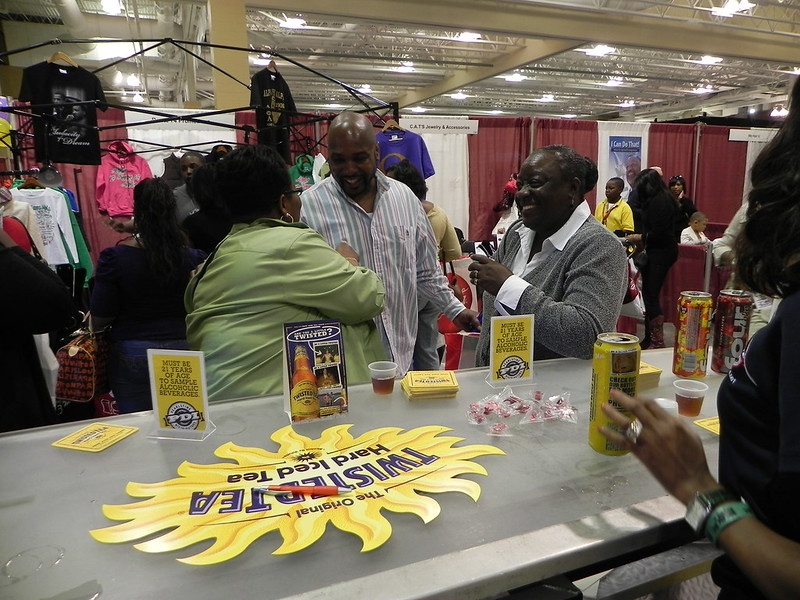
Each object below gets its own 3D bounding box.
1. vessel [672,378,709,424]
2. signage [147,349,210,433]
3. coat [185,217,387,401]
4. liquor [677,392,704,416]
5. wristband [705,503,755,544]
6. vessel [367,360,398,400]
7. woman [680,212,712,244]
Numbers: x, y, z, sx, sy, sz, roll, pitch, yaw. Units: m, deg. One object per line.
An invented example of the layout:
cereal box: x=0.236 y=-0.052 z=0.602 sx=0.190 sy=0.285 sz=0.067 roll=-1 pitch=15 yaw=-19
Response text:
vessel: x=0.817 y=0.286 z=1.270 sx=0.103 sy=0.087 sz=0.103 roll=1 pitch=1 yaw=-22
signage: x=-0.598 y=0.249 z=1.208 sx=0.222 sy=0.288 sz=0.011 roll=-2 pitch=-4 yaw=8
coat: x=-0.419 y=0.001 z=1.781 sx=0.715 sy=0.651 sz=0.553 roll=-8 pitch=4 yaw=-29
liquor: x=0.813 y=0.294 z=1.270 sx=0.064 sy=0.048 sz=0.067 roll=0 pitch=-1 yaw=3
wristband: x=0.534 y=0.360 z=0.726 sx=0.075 sy=0.063 sz=0.029 roll=-4 pitch=12 yaw=-17
vessel: x=-0.055 y=0.252 z=1.392 sx=0.095 sy=0.068 sz=0.092 roll=-1 pitch=6 yaw=-3
woman: x=4.045 y=-0.973 z=6.182 sx=0.375 sy=0.416 sz=0.646 roll=9 pitch=18 yaw=31
